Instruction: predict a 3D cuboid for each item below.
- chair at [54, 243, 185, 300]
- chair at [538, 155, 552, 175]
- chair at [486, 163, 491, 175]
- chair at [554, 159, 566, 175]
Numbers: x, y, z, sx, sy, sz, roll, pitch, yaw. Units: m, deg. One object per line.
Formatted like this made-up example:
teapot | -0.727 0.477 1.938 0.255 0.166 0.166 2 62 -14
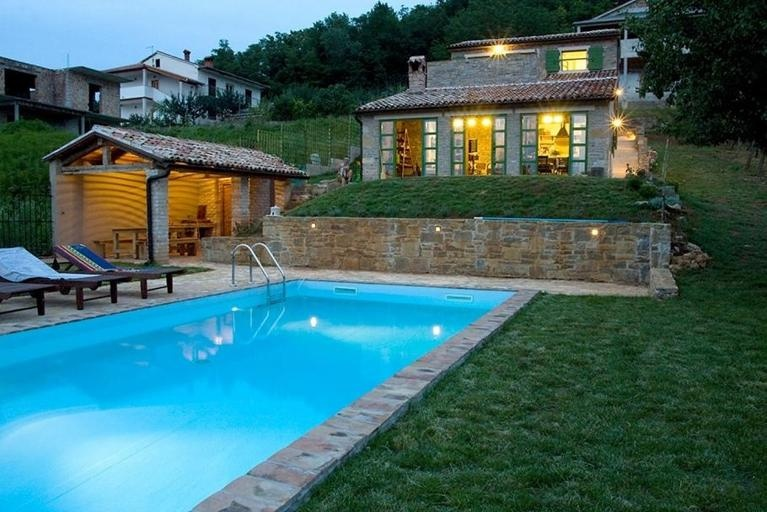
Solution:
chair | -6.247 0.223 13.012 3.775 1.358 1.399 2 6 12
chair | 6.661 -3.777 23.642 0.622 0.680 0.289 0 13 16
chair | 4.521 -3.760 24.610 0.238 0.410 0.714 -1 12 12
chair | 7.259 -3.702 23.484 0.556 0.634 0.556 0 13 17
